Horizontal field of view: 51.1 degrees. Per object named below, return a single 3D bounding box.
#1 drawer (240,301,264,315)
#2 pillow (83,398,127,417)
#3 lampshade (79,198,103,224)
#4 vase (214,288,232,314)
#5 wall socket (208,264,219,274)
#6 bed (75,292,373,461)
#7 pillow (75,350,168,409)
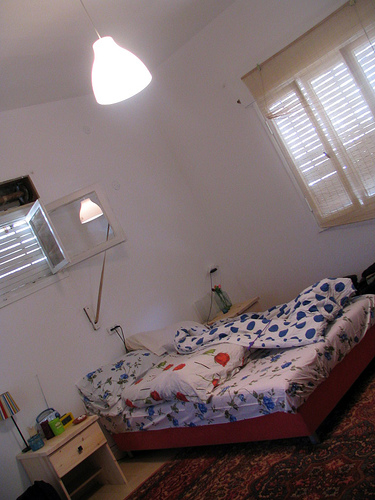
[{"bbox_3d":[0.626,0.560,3.816,0.158,0.103,0.148,-25,-13,19],"label":"drawer"},{"bbox_3d":[-0.594,1.165,2.894,0.269,0.094,0.191,18,3,29],"label":"pillow"},{"bbox_3d":[-0.888,-0.351,3.539,0.212,0.188,0.208,-30,8,-28],"label":"lampshade"},{"bbox_3d":[0.354,0.529,4.018,0.165,0.279,0.163,-27,-10,-3],"label":"vase"},{"bbox_3d":[0.281,0.206,4.280,0.096,0.037,0.070,-33,29,-25],"label":"wall socket"},{"bbox_3d":[0.183,0.821,2.574,1.763,0.962,0.791,-33,-4,43],"label":"bed"},{"bbox_3d":[-0.515,0.976,3.042,0.363,0.146,0.573,-5,21,46],"label":"pillow"}]
